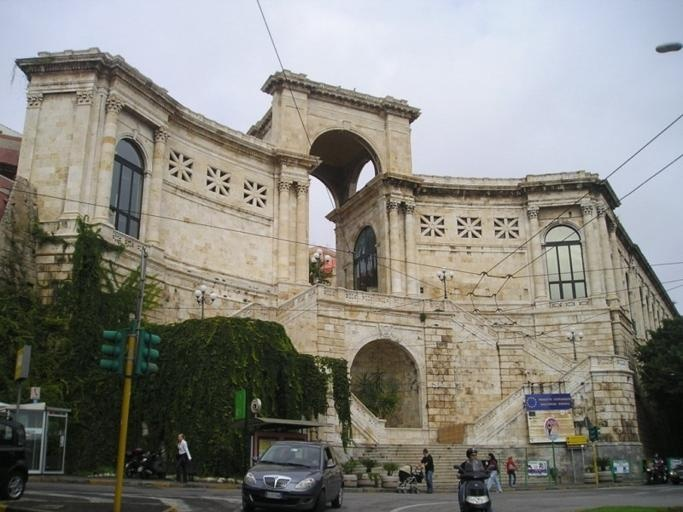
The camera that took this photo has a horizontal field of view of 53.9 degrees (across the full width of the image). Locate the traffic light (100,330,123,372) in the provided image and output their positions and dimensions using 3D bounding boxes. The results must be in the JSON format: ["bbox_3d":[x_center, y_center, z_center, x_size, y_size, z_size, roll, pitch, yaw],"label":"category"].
[{"bbox_3d":[-6.182,2.504,18.003,0.379,1.183,0.596,-5,-13,44],"label":"traffic light"}]

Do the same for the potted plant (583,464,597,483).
[{"bbox_3d":[12.845,11.129,34.597,0.788,1.044,2.972,-7,-22,18],"label":"potted plant"}]

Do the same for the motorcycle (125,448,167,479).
[{"bbox_3d":[-8.312,8.744,28.394,1.168,1.054,1.602,-17,-29,36],"label":"motorcycle"}]

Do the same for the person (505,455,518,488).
[{"bbox_3d":[8.336,10.495,33.007,0.439,1.522,2.528,-5,-21,12],"label":"person"}]

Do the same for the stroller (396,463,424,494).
[{"bbox_3d":[3.028,9.515,29.030,1.306,1.425,1.072,6,-13,-30],"label":"stroller"}]

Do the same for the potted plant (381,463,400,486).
[{"bbox_3d":[2.148,9.732,29.883,0.799,1.183,0.842,-3,-24,12],"label":"potted plant"}]

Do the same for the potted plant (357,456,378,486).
[{"bbox_3d":[1.190,9.999,31.274,0.818,1.140,0.805,2,-34,1],"label":"potted plant"}]
